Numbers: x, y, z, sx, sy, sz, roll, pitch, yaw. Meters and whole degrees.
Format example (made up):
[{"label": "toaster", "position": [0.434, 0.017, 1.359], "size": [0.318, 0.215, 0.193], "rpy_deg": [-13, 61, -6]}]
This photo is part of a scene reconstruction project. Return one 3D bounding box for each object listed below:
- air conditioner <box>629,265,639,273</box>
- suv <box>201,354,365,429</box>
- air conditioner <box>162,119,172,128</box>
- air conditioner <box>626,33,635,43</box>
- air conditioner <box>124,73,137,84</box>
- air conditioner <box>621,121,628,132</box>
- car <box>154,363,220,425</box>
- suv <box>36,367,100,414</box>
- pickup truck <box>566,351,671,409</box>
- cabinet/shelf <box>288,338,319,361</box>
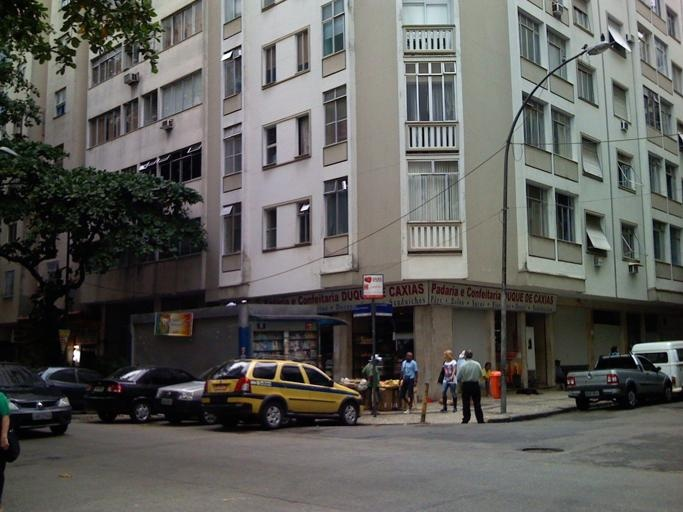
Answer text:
[{"label": "air conditioner", "position": [15.728, 0.669, 37.785], "size": [0.302, 0.491, 1.089], "rpy_deg": [-2, -5, 41]}, {"label": "suv", "position": [-1.767, 3.961, 21.013], "size": [4.278, 1.783, 1.963], "rpy_deg": [4, -10, -40]}, {"label": "air conditioner", "position": [-9.476, -7.305, 38.592], "size": [0.682, 0.495, 0.378], "rpy_deg": [-3, -5, 43]}, {"label": "air conditioner", "position": [16.127, -12.281, 39.413], "size": [0.287, 0.459, 0.554], "rpy_deg": [-18, -38, 35]}, {"label": "air conditioner", "position": [-12.140, -10.396, 40.879], "size": [0.958, 0.555, 0.531], "rpy_deg": [-4, -5, 45]}, {"label": "air conditioner", "position": [15.312, -7.104, 38.183], "size": [0.263, 0.526, 0.536], "rpy_deg": [-3, -5, 42]}, {"label": "car", "position": [-5.016, 4.398, 22.239], "size": [1.500, 1.362, 2.662], "rpy_deg": [-8, -16, 36]}, {"label": "suv", "position": [-10.011, 5.192, 26.325], "size": [3.029, 1.657, 1.659], "rpy_deg": [3, -4, -43]}, {"label": "pickup truck", "position": [10.201, 4.583, 25.777], "size": [4.217, 1.982, 1.566], "rpy_deg": [4, -5, -36]}, {"label": "cabinet/shelf", "position": [-1.476, 3.552, 26.769], "size": [0.734, 0.755, 0.298], "rpy_deg": [5, -5, -24]}]
